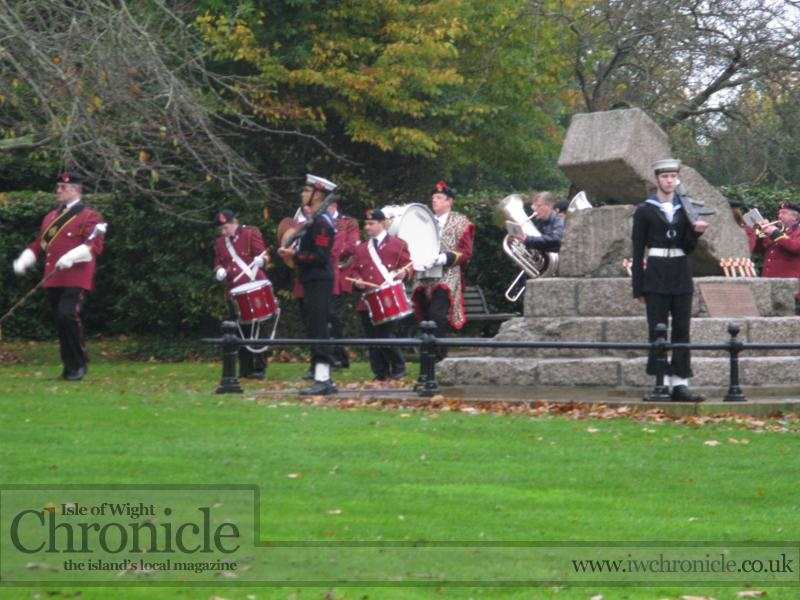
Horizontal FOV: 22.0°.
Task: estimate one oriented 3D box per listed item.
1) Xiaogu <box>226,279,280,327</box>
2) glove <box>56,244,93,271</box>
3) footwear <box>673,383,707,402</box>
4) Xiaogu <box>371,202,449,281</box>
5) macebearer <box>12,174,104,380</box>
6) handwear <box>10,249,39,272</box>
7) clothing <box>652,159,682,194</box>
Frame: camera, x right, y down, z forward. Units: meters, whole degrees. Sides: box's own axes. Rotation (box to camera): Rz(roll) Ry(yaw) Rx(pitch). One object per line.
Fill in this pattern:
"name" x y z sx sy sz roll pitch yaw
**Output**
"Xiaogu" -2.223 0.020 31.427 0.804 0.465 0.709 -13 11 9
"glove" -4.943 -0.645 31.032 0.312 0.372 0.663 -2 -4 43
"footwear" 4.009 1.297 28.641 0.444 0.236 0.518 1 -3 -6
"Xiaogu" 0.277 -0.902 31.846 0.950 1.053 0.948 2 8 -22
"macebearer" -5.007 -0.290 31.598 1.381 3.115 1.207 -5 15 -34
"handwear" -5.760 -0.580 31.080 0.270 0.267 0.582 6 18 24
"clothing" 3.752 -1.744 29.020 0.491 0.413 0.495 0 3 -1
